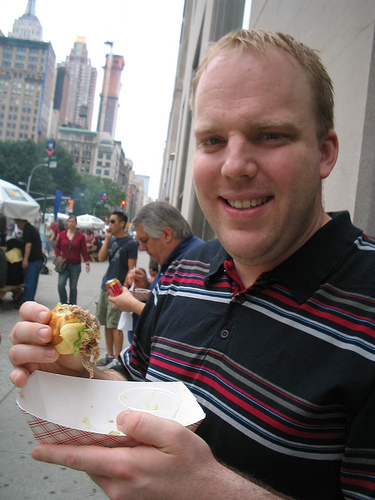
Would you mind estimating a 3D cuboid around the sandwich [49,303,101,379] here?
[{"bbox_3d":[-0.393,0.290,1.394,0.133,0.220,0.244,-22,7,-2],"label":"sandwich"}]

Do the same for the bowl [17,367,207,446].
[{"bbox_3d":[-0.240,0.475,1.257,0.385,0.104,0.257,8,-7,4],"label":"bowl"}]

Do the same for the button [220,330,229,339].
[{"bbox_3d":[0.119,0.275,1.352,0.024,0.023,0.008,-14,-12,41],"label":"button"}]

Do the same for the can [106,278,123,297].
[{"bbox_3d":[-0.681,0.349,3.872,0.135,0.166,0.251,12,1,-20],"label":"can"}]

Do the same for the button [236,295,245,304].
[{"bbox_3d":[0.173,0.162,1.371,0.032,0.030,0.012,-2,-6,38],"label":"button"}]

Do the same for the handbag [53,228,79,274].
[{"bbox_3d":[-2.456,0.055,8.359,0.298,0.869,0.451,13,1,-15],"label":"handbag"}]

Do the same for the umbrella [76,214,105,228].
[{"bbox_3d":[-7.128,-2.087,30.496,2.410,0.871,2.260,-4,13,-21],"label":"umbrella"}]

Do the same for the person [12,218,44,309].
[{"bbox_3d":[-3.316,0.191,8.661,0.676,1.921,0.606,2,-1,-12],"label":"person"}]

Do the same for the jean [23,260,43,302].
[{"bbox_3d":[-3.146,0.616,8.425,0.268,0.823,0.444,13,1,-19],"label":"jean"}]
